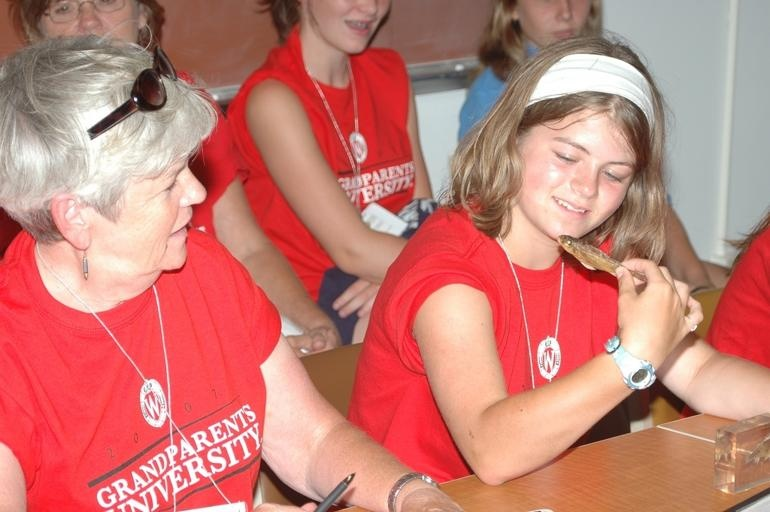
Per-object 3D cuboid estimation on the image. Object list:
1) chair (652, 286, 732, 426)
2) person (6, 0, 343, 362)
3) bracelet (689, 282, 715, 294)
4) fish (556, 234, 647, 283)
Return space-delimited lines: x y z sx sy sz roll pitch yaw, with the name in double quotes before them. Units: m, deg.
"chair" 0.974 0.355 2.377 0.295 0.417 0.157 -8 20 -28
"person" -0.550 -0.552 3.420 1.366 1.786 1.087 8 18 23
"bracelet" 1.399 0.139 3.208 0.080 0.021 0.084 -7 5 -29
"fish" 0.570 0.008 1.930 0.176 0.041 0.065 26 1 16
